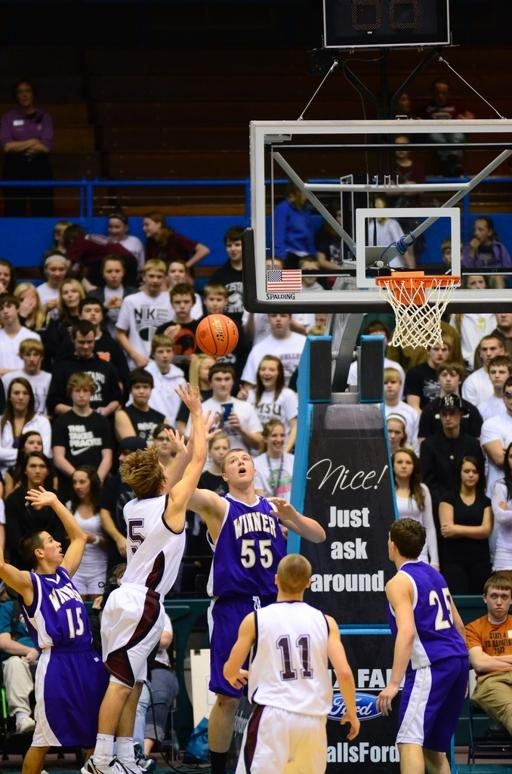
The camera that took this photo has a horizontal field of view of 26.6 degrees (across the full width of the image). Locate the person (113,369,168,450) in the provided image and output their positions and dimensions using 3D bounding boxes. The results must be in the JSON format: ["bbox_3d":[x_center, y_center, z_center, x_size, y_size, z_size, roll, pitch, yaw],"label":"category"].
[{"bbox_3d":[-0.964,0.244,9.473,0.537,0.846,0.427,-2,-15,-21],"label":"person"}]

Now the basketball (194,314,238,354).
[{"bbox_3d":[-0.334,-0.479,9.644,0.345,0.371,0.272,0,-3,-14],"label":"basketball"}]

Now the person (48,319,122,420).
[{"bbox_3d":[-1.539,-0.045,9.934,0.770,1.155,0.633,-4,12,-20],"label":"person"}]

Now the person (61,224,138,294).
[{"bbox_3d":[-1.756,-1.390,12.040,0.804,0.807,0.579,0,9,7],"label":"person"}]

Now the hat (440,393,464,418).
[{"bbox_3d":[1.633,0.159,9.014,0.196,0.105,0.275,-1,-6,7],"label":"hat"}]

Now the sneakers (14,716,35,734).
[{"bbox_3d":[-1.494,2.201,7.020,0.069,0.078,0.185,0,1,-7],"label":"sneakers"}]

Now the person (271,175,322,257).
[{"bbox_3d":[0.414,-1.593,10.622,0.431,0.852,0.575,-1,-3,0],"label":"person"}]

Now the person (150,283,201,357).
[{"bbox_3d":[-0.829,-0.938,11.379,0.513,0.810,0.435,4,-10,-13],"label":"person"}]
